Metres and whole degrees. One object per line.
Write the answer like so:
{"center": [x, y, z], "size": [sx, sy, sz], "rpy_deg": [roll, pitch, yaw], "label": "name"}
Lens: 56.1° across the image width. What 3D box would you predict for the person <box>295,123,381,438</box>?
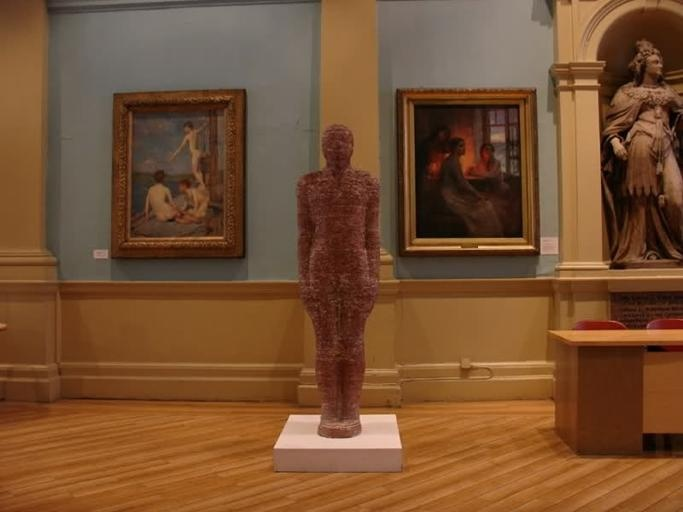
{"center": [-0.011, 0.205, 5.523], "size": [0.712, 2.596, 0.607], "rpy_deg": [-1, 11, -4], "label": "person"}
